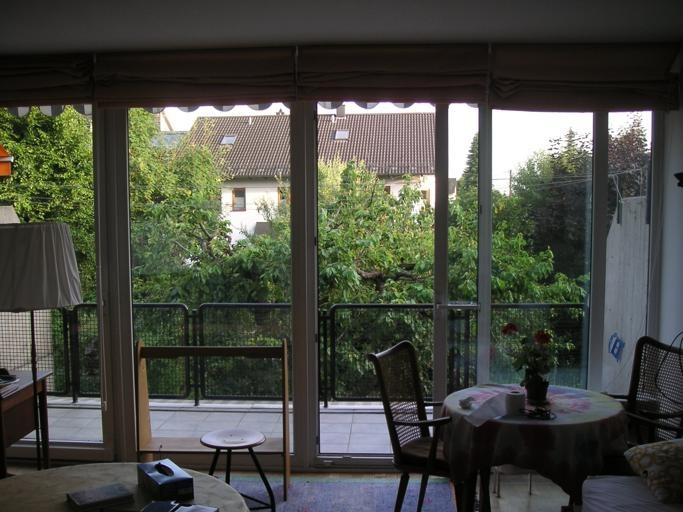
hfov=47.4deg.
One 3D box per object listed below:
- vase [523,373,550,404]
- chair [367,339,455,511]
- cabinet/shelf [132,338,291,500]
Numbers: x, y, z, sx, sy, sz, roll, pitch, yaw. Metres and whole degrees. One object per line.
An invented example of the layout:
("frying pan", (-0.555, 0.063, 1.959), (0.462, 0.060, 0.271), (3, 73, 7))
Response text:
("vase", (1.219, 0.835, 4.917), (0.160, 0.140, 0.178), (0, -3, 2))
("chair", (0.423, 1.156, 5.153), (0.499, 1.130, 0.693), (0, 0, 2))
("cabinet/shelf", (-0.878, 1.148, 5.444), (0.985, 1.037, 0.334), (0, 3, 3))
